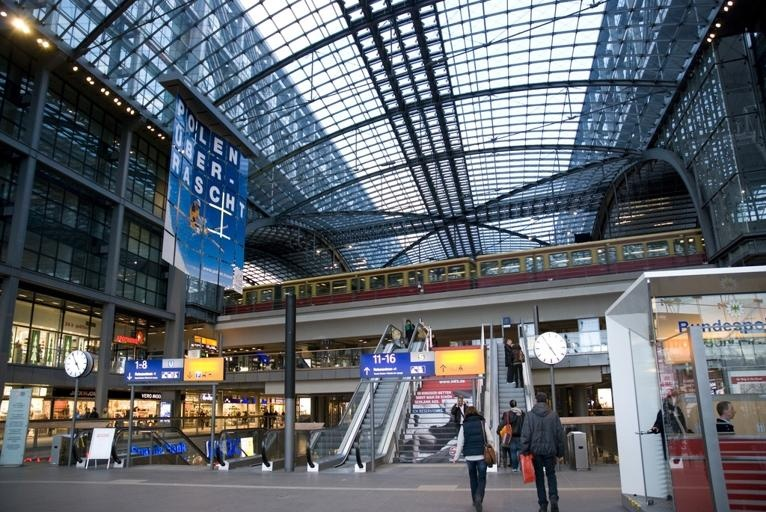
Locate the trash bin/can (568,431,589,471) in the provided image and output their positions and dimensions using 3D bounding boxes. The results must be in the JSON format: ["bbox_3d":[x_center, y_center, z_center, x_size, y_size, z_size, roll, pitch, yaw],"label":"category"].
[{"bbox_3d":[5.922,5.909,16.345,0.361,0.816,0.844,-1,-32,9],"label":"trash bin/can"}]

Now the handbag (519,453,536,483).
[{"bbox_3d":[3.067,4.456,11.385,0.228,0.534,0.371,-9,-22,23],"label":"handbag"}]

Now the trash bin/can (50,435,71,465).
[{"bbox_3d":[-11.573,6.985,19.472,0.635,0.989,0.462,6,-21,-15],"label":"trash bin/can"}]

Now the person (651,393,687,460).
[{"bbox_3d":[5.465,3.243,10.380,0.361,1.167,1.437,-5,-21,15],"label":"person"}]

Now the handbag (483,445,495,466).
[{"bbox_3d":[2.400,4.428,12.085,0.193,0.421,0.882,-5,-21,14],"label":"handbag"}]

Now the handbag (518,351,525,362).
[{"bbox_3d":[5.410,3.922,21.089,0.188,0.461,0.373,-1,-4,-40],"label":"handbag"}]
